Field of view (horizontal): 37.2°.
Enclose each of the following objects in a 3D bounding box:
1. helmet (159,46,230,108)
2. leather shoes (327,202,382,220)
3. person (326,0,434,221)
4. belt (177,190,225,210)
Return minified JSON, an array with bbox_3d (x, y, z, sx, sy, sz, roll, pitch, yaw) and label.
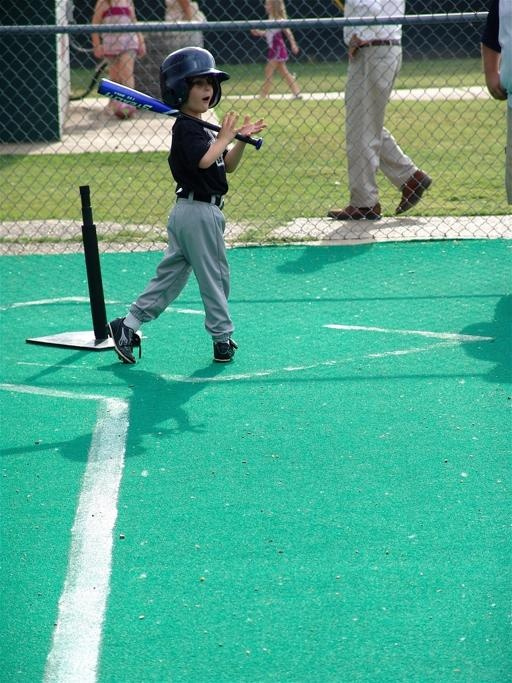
[{"bbox_3d":[-0.282,-1.205,3.469,0.306,0.278,0.271,-5,16,-9],"label":"helmet"},{"bbox_3d":[0.799,-1.035,6.042,0.475,0.152,0.139,3,9,4],"label":"leather shoes"},{"bbox_3d":[0.949,-1.724,5.725,0.707,1.642,0.557,-9,18,-16],"label":"person"},{"bbox_3d":[-0.243,-0.656,3.516,0.129,0.031,0.124,3,3,-44],"label":"belt"}]
